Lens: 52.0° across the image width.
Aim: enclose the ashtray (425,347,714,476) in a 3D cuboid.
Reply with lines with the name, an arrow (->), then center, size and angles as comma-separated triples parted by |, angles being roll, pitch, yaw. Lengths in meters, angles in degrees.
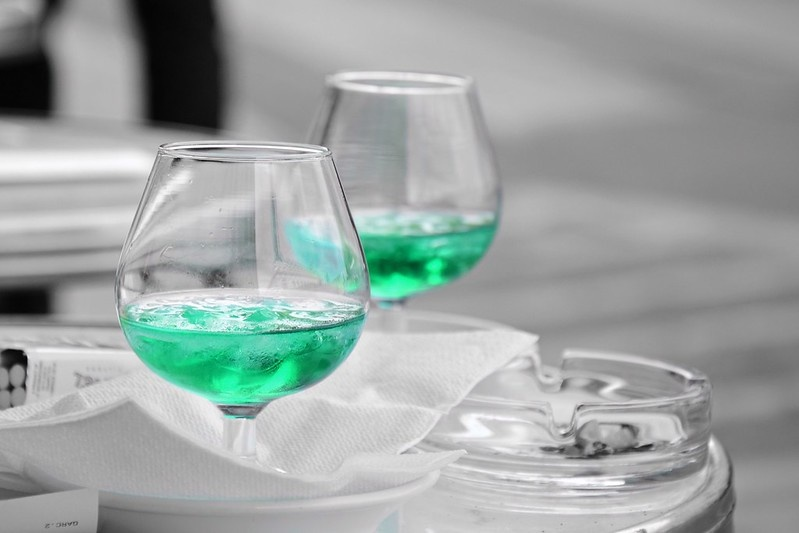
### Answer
ashtray -> 0.141, 0.129, 0.747 | 0.288, 0.041, 0.222 | 0, 6, 3
